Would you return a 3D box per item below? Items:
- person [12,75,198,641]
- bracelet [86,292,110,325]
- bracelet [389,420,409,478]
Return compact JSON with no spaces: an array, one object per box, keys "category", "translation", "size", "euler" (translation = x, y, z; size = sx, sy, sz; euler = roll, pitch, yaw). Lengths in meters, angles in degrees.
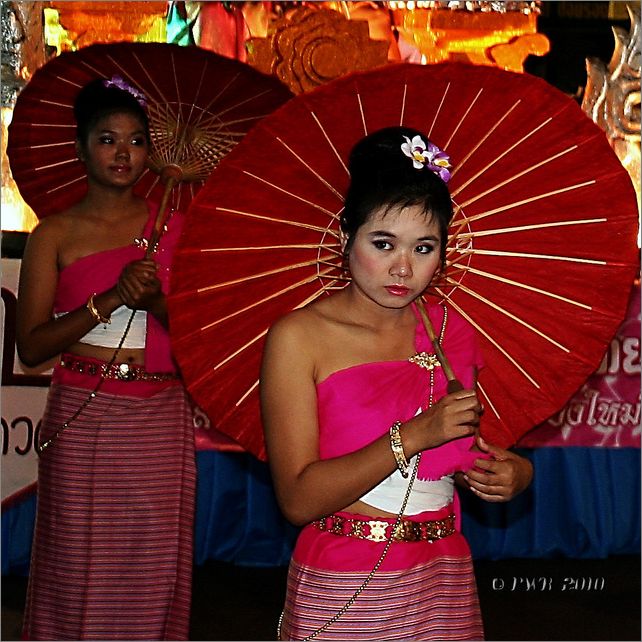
[{"category":"person","translation":[-0.658,0.109,2.382],"size":[0.541,1.734,0.465],"euler":[1,7,-4]},{"category":"bracelet","translation":[-0.666,-0.031,2.275],"size":[0.020,0.077,0.079],"euler":[-28,-17,-35]},{"category":"bracelet","translation":[0.145,0.237,1.385],"size":[0.028,0.074,0.067],"euler":[-12,2,14]}]
